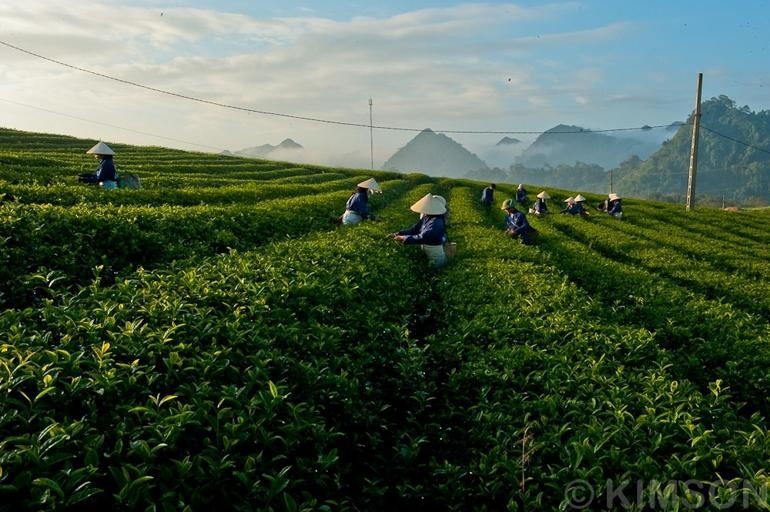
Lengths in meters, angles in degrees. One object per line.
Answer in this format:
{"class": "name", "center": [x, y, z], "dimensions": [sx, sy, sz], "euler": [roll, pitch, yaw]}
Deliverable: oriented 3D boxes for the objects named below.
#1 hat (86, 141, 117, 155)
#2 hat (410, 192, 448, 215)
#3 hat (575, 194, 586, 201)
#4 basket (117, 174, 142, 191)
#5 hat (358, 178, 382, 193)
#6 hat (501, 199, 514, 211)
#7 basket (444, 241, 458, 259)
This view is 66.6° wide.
{"class": "hat", "center": [-10.329, -3.863, 21.228], "dimensions": [0.700, 0.501, 1.174], "euler": [-4, 15, -30]}
{"class": "hat", "center": [1.245, -1.433, 16.794], "dimensions": [0.806, 0.340, 0.805], "euler": [7, 15, 20]}
{"class": "hat", "center": [10.799, -3.180, 32.772], "dimensions": [0.677, 0.262, 0.653], "euler": [-5, 6, -11]}
{"class": "basket", "center": [-10.117, -2.918, 23.228], "dimensions": [1.040, 0.724, 1.014], "euler": [-5, 9, -36]}
{"class": "hat", "center": [-0.567, -2.420, 20.096], "dimensions": [0.925, 0.385, 0.898], "euler": [1, 9, -41]}
{"class": "hat", "center": [4.435, -1.860, 21.148], "dimensions": [0.414, 0.266, 0.548], "euler": [-4, 12, 1]}
{"class": "basket", "center": [1.984, -0.178, 17.630], "dimensions": [0.493, 0.600, 0.395], "euler": [3, -7, -28]}
